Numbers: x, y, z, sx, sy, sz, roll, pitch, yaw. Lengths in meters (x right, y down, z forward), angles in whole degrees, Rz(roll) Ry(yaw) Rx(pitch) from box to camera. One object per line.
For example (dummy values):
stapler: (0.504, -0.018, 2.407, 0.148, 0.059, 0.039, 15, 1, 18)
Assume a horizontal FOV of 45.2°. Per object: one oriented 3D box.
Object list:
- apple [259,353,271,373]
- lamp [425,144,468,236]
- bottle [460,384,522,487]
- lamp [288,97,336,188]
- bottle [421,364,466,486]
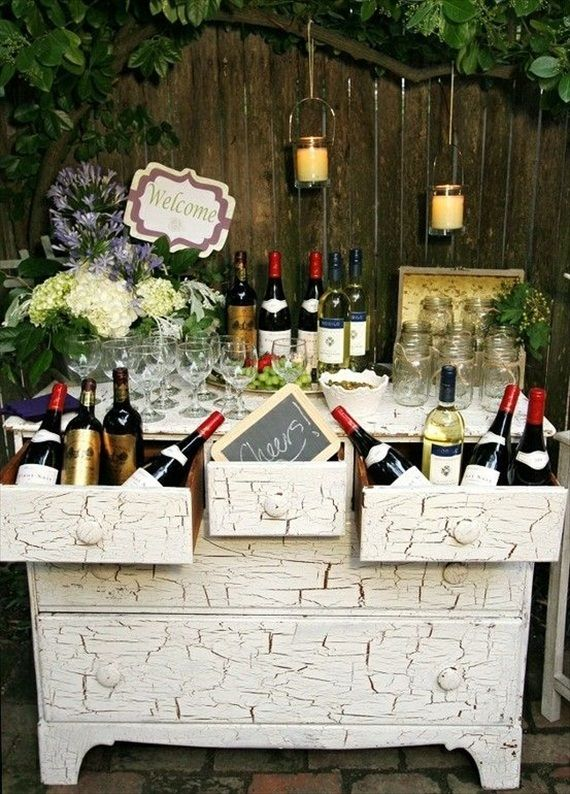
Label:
apple: (-0.047, -0.084, 1.666, 0.033, 0.020, 0.040, -3, 52, 10)
lamp: (0.440, -0.566, 1.862, 0.107, 0.264, 0.184, 3, 17, 12)
bottle: (0.426, 0.115, 1.412, 0.069, 0.273, 0.067, 17, 8, -2)
lamp: (0.076, -0.683, 1.831, 0.132, 0.238, 0.204, 0, 17, 1)
bottle: (0.320, 0.075, 1.379, 0.089, 0.291, 0.071, -6, 29, -5)
